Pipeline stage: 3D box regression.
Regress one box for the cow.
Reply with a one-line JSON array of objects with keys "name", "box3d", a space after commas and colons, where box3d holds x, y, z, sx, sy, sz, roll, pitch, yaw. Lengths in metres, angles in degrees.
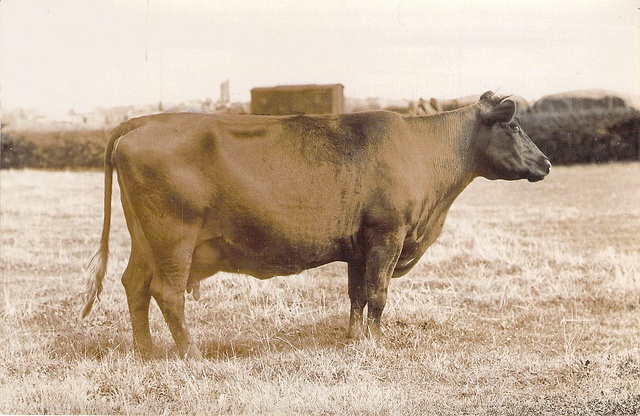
[{"name": "cow", "box3d": [0.110, 0.235, 16.251, 5.743, 3.649, 1.863, 0, 9, -13]}]
